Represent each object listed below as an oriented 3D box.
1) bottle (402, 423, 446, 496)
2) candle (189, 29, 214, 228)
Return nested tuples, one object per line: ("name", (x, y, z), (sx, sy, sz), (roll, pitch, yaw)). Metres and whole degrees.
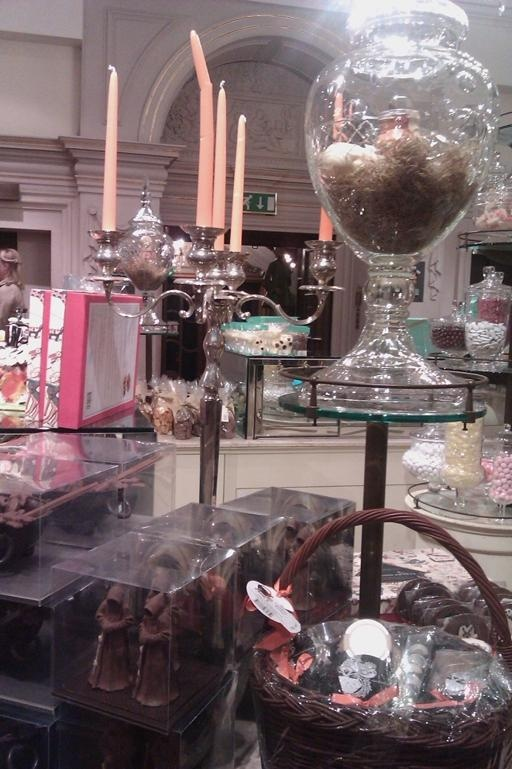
("bottle", (0.577, 0.219, 2.021), (0.168, 0.217, 0.166), (6, 1, 0))
("candle", (-0.069, -0.323, 0.796), (0.031, 0.245, 0.064), (2, 2, -7))
